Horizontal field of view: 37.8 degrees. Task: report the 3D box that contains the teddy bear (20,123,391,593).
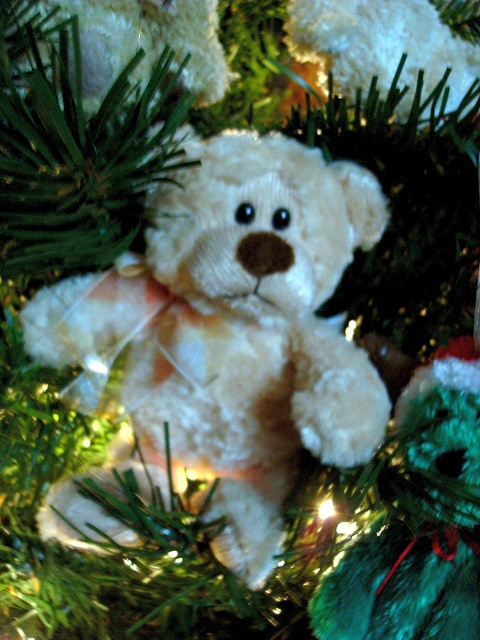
[{"bbox_3d":[0.011,0.011,0.506,0.266,0.103,0.287,41,71,10],"label":"teddy bear"}]
